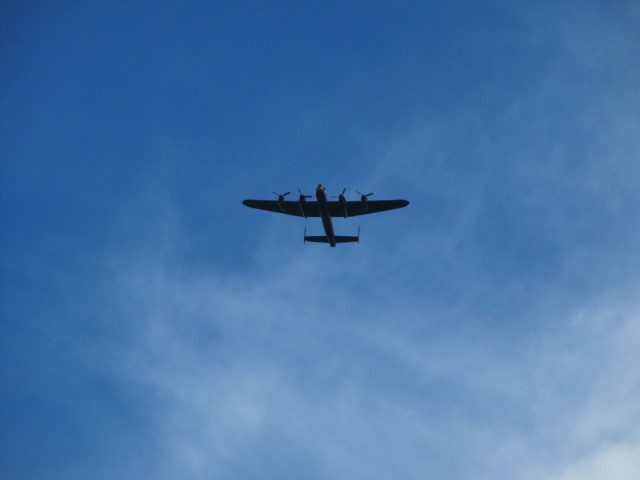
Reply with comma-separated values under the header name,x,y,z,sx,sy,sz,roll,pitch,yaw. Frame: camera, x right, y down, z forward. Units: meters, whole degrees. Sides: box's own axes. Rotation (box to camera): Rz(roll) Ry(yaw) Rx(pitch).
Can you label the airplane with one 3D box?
name,x,y,z,sx,sy,sz,roll,pitch,yaw
airplane,0.424,-0.896,110.765,12.127,2.293,6.835,-1,-43,4
